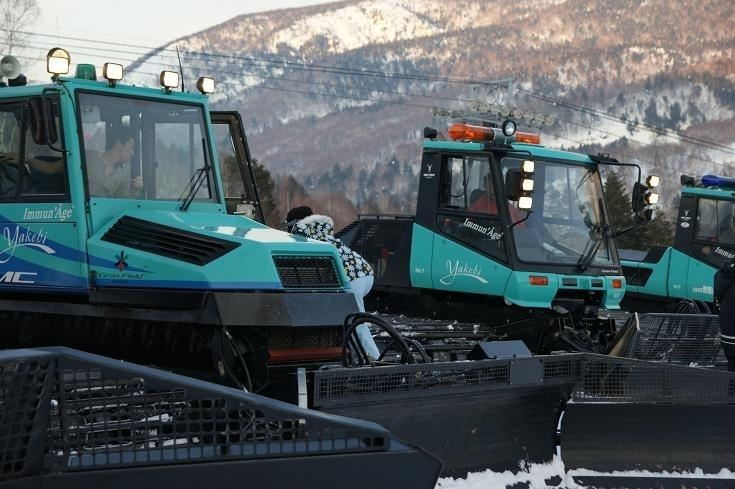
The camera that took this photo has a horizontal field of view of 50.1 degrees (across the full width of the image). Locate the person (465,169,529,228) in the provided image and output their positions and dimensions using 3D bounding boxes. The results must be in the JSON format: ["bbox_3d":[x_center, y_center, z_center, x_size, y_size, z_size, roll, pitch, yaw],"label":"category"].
[{"bbox_3d":[1.854,-0.627,11.461,0.577,0.443,0.852,-5,9,-40],"label":"person"}]
